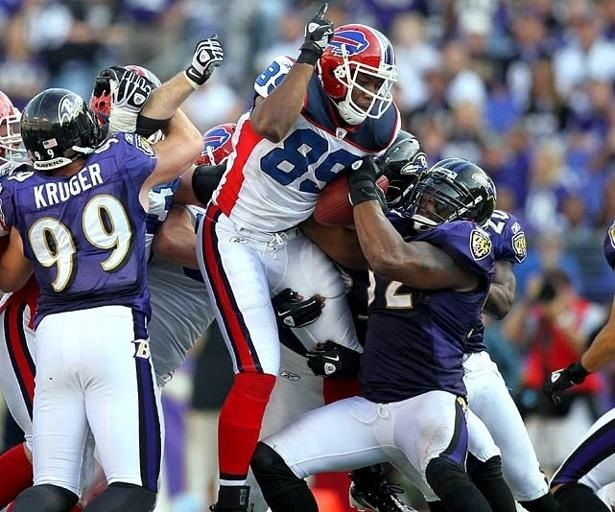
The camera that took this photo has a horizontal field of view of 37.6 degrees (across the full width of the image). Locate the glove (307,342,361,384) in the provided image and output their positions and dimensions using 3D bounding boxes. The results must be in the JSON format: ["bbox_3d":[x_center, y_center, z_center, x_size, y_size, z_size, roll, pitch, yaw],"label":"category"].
[{"bbox_3d":[0.142,0.570,4.929,0.264,0.176,0.099,11,7,-8],"label":"glove"}]

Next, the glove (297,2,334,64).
[{"bbox_3d":[0.043,-1.069,4.407,0.140,0.258,0.330,26,29,-4],"label":"glove"}]

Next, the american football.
[{"bbox_3d":[0.174,-0.237,4.676,0.224,0.095,0.230,-33,12,2],"label":"american football"}]

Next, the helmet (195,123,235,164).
[{"bbox_3d":[-0.514,-0.629,5.362,0.247,0.212,0.245,-11,39,4],"label":"helmet"}]

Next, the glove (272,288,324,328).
[{"bbox_3d":[-0.052,0.281,4.820,0.210,0.222,0.090,-6,4,-5],"label":"glove"}]

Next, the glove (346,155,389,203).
[{"bbox_3d":[0.288,-0.363,4.538,0.096,0.241,0.183,14,51,26],"label":"glove"}]
